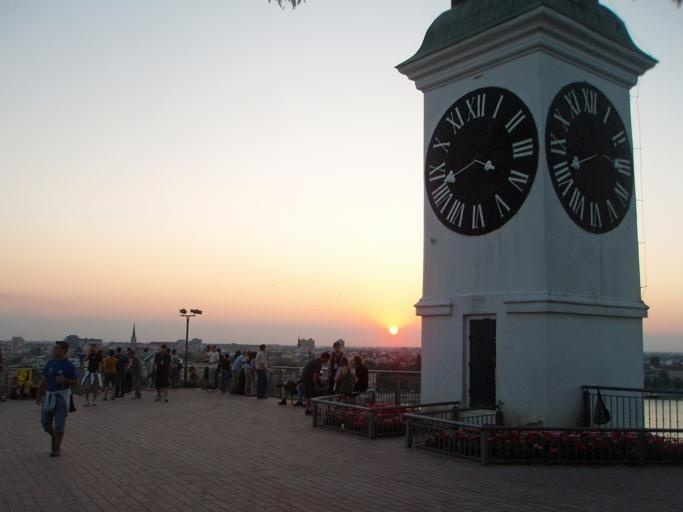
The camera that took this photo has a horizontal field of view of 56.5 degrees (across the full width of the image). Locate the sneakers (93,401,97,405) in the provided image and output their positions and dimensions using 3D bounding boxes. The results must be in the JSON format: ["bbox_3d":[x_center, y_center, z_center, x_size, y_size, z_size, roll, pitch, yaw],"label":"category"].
[{"bbox_3d":[-8.740,5.291,22.612,0.105,0.130,0.122,0,0,-6],"label":"sneakers"}]

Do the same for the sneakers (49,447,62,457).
[{"bbox_3d":[-5.993,4.146,13.363,0.206,0.156,0.242,4,-10,-22],"label":"sneakers"}]

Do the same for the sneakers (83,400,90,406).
[{"bbox_3d":[-9.066,5.297,22.661,0.267,0.211,0.491,-3,-13,-10],"label":"sneakers"}]
